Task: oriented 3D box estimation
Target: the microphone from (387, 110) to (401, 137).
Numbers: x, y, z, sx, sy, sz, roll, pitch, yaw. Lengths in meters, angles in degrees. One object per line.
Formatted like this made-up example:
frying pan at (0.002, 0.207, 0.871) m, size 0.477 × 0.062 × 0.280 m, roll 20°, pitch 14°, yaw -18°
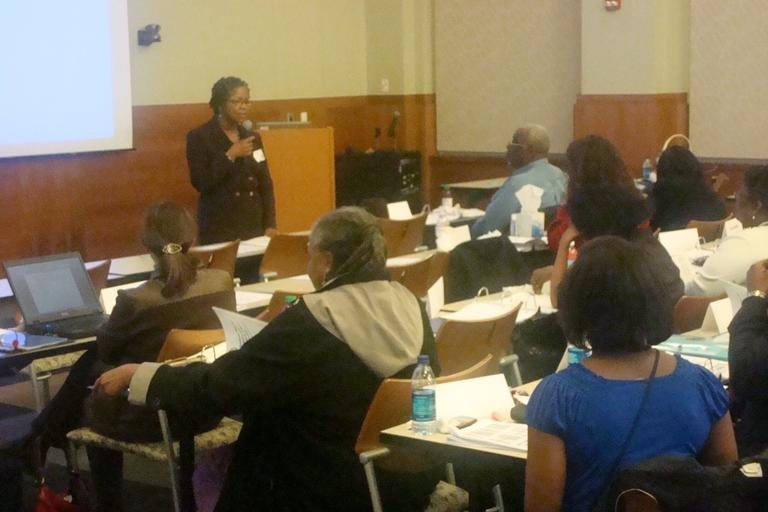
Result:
microphone at (0.173, -2.022, 9.987) m, size 0.219 × 0.395 × 0.258 m, roll -10°, pitch 12°, yaw -29°

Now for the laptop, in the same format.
laptop at (-1.808, 0.208, 3.626) m, size 0.522 × 0.397 × 0.552 m, roll -12°, pitch 17°, yaw -39°

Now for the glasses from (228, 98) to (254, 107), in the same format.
glasses at (-1.235, -1.312, 5.574) m, size 0.086 × 0.060 × 0.196 m, roll 4°, pitch 13°, yaw 40°

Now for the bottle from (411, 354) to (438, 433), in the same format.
bottle at (0.135, 0.486, 2.342) m, size 0.096 × 0.241 × 0.170 m, roll -4°, pitch 10°, yaw 3°
